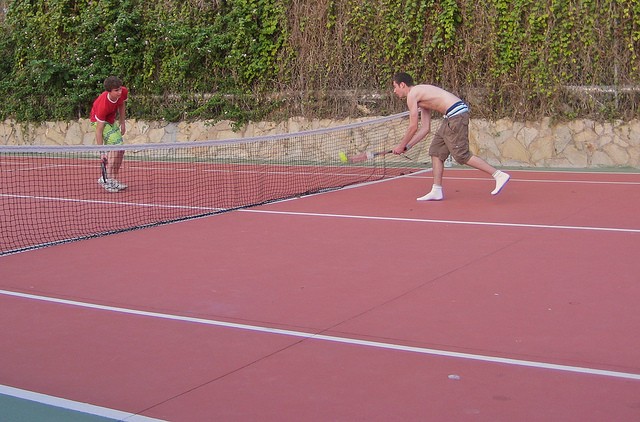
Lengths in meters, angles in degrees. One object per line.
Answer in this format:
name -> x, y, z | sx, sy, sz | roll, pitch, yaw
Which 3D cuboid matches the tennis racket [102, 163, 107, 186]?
tennis racket -> -3.661, -0.641, 11.167 | 0.071, 0.385, 0.396 | -4, 12, -18
